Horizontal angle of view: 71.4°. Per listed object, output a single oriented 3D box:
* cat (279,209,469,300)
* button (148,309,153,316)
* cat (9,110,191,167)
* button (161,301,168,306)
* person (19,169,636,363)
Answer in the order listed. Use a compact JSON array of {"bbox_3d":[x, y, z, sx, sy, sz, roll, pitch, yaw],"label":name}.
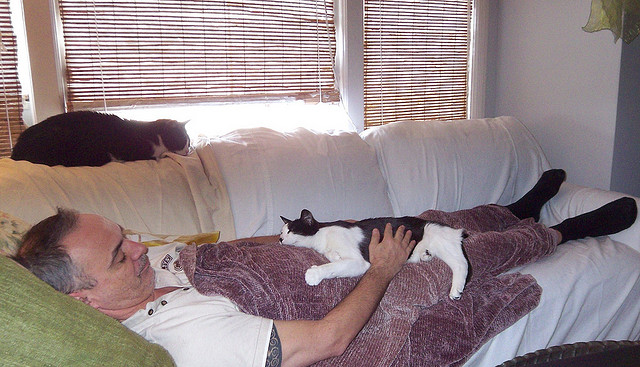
[{"bbox_3d":[0.244,0.384,2.376,0.936,0.322,0.407,-1,-20,-7],"label":"cat"},{"bbox_3d":[-0.756,0.576,1.994,0.021,0.019,0.005,-21,-3,-9],"label":"button"},{"bbox_3d":[-1.258,-0.261,2.869,1.192,0.425,0.358,2,20,-28],"label":"cat"},{"bbox_3d":[-0.703,0.541,2.014,0.022,0.018,0.006,0,-7,-8],"label":"button"},{"bbox_3d":[0.271,0.480,2.213,2.586,0.630,0.954,-9,31,-16],"label":"person"}]
